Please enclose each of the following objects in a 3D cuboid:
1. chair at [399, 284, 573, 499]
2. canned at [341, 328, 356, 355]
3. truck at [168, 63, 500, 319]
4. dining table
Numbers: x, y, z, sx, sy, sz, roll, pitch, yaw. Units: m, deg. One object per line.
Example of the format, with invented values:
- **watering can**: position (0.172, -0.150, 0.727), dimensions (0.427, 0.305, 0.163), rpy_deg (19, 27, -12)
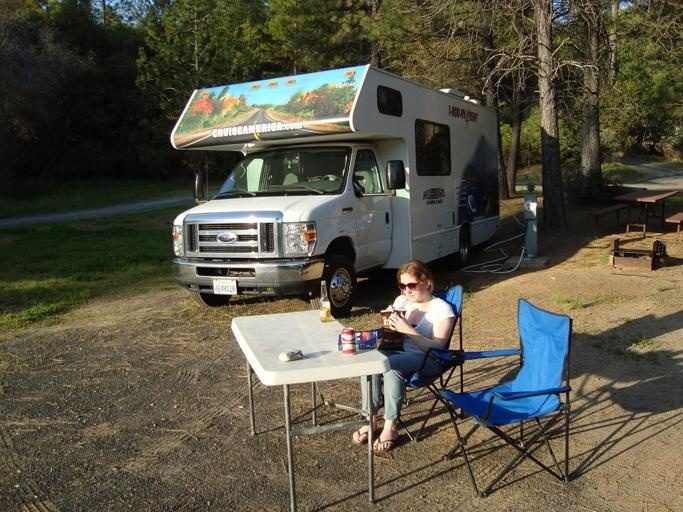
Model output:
- **chair**: position (1.474, 1.097, 4.999), dimensions (1.128, 1.305, 1.063), rpy_deg (-10, 13, -33)
- **canned**: position (0.049, 0.678, 4.678), dimensions (0.116, 0.184, 0.112), rpy_deg (-3, 11, 0)
- **truck**: position (0.177, -1.069, 10.136), dimensions (3.304, 3.148, 5.592), rpy_deg (3, 6, 38)
- **dining table**: position (-0.374, 1.070, 5.217), dimensions (0.857, 1.022, 1.819), rpy_deg (-3, 2, -17)
